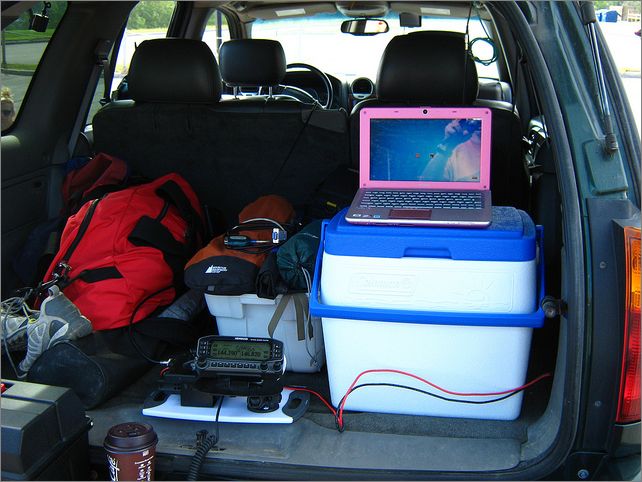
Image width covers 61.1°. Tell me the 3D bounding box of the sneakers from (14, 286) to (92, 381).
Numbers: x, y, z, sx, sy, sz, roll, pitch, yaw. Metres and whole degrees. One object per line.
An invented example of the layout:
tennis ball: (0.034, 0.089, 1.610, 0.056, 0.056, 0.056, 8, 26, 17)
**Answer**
sneakers: (-0.910, 0.303, 1.761, 0.285, 0.167, 0.101, -37, 3, 12)

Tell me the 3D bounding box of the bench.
bench: (-0.572, -0.635, 2.736, 1.009, 0.727, 0.619, 0, 25, -7)

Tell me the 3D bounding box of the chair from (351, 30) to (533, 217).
chair: (0.365, -0.383, 2.025, 0.675, 0.480, 0.546, 2, 13, 27)

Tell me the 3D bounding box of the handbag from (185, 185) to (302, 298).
handbag: (-0.280, -0.007, 2.143, 0.299, 0.213, 0.672, 3, 22, 16)

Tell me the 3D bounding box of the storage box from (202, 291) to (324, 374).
storage box: (-0.199, 0.304, 1.912, 0.349, 0.250, 0.280, -1, 9, 9)

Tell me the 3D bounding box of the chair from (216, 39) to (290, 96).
chair: (-0.352, -0.882, 2.731, 0.334, 0.295, 0.193, -2, 28, -5)

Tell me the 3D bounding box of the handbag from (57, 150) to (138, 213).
handbag: (-1.006, -0.250, 2.476, 0.279, 0.112, 0.244, -31, 63, 2)

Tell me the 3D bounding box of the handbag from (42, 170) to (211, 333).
handbag: (-0.782, 0.000, 2.150, 0.450, 0.240, 0.701, 21, 39, 2)

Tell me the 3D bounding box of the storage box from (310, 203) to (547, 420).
storage box: (0.352, 0.219, 1.726, 0.690, 0.561, 0.503, 0, 9, 7)
